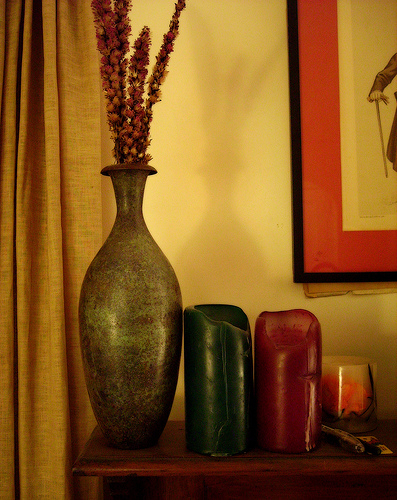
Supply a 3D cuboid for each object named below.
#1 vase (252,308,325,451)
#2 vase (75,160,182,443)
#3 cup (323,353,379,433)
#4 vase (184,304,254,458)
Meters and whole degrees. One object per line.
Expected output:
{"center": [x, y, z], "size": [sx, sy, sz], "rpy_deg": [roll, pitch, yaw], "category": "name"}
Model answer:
{"center": [0.121, 0.183, 0.856], "size": [0.096, 0.196, 0.061], "rpy_deg": [-1, -7, 5], "category": "vase"}
{"center": [-0.100, 0.071, 0.872], "size": [0.131, 0.409, 0.105], "rpy_deg": [-3, -7, 23], "category": "vase"}
{"center": [0.239, 0.228, 0.982], "size": [0.086, 0.116, 0.095], "rpy_deg": [-3, 9, 0], "category": "cup"}
{"center": [0.027, 0.182, 0.846], "size": [0.094, 0.203, 0.053], "rpy_deg": [-1, -7, 3], "category": "vase"}
